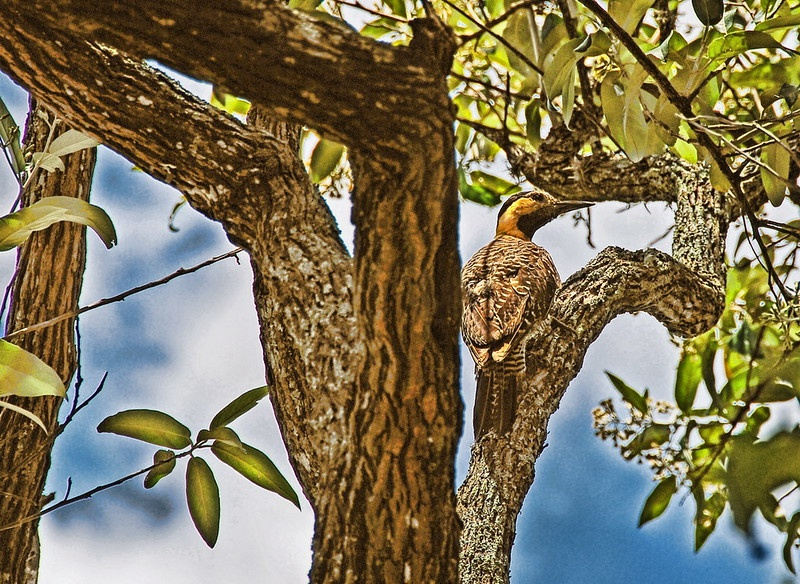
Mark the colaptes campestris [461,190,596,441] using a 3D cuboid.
[{"bbox_3d":[0.566,0.099,9.404,0.781,1.359,0.906,-3,5,3],"label":"colaptes campestris"}]
